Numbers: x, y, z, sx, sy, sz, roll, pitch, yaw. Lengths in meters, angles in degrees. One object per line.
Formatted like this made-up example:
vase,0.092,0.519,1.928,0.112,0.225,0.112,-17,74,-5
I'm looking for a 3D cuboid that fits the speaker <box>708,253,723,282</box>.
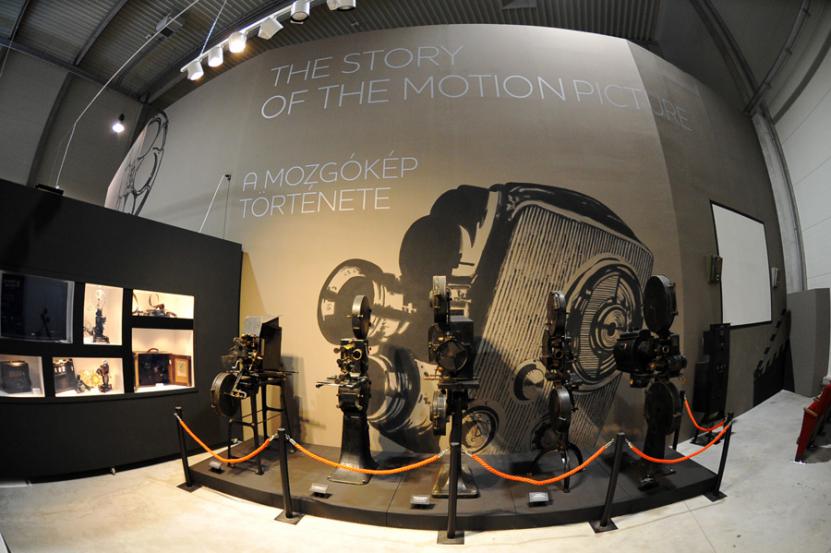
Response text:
speaker,7.713,-0.168,13.363,0.473,0.725,0.205,6,-9,-30
